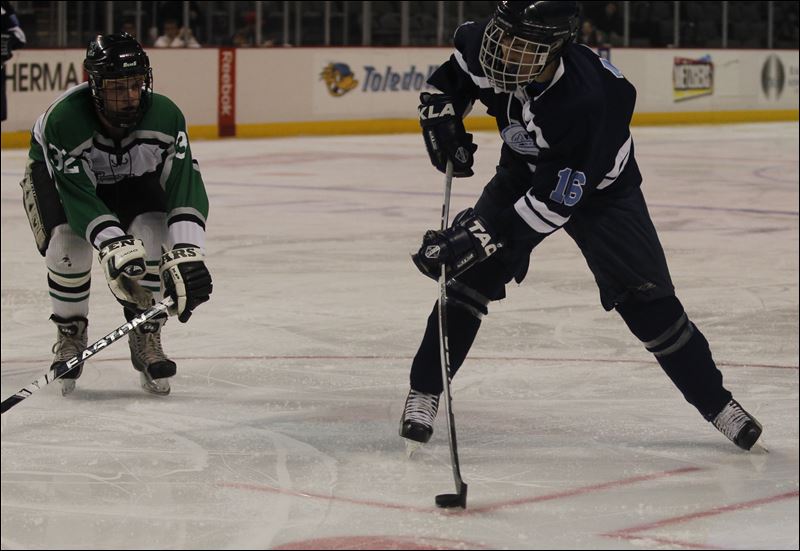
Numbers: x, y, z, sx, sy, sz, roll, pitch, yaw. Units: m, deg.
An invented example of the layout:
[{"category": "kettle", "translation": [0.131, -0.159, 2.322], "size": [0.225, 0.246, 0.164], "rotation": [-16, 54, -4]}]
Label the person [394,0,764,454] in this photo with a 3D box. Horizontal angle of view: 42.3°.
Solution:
[{"category": "person", "translation": [0.621, -0.201, 3.927], "size": [1.199, 1.614, 0.607], "rotation": [1, 12, -1]}]

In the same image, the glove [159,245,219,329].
[{"category": "glove", "translation": [-0.801, 0.042, 3.920], "size": [0.222, 0.259, 0.118], "rotation": [4, 4, 33]}]

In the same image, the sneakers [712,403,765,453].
[{"category": "sneakers", "translation": [1.242, 0.545, 3.795], "size": [0.080, 0.111, 0.212], "rotation": [24, 19, -49]}]

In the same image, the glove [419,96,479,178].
[{"category": "glove", "translation": [0.191, -0.541, 4.012], "size": [0.247, 0.294, 0.126], "rotation": [7, 13, 27]}]

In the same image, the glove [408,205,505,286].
[{"category": "glove", "translation": [0.207, -0.105, 3.782], "size": [0.326, 0.229, 0.131], "rotation": [-26, -17, -13]}]

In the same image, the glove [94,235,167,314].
[{"category": "glove", "translation": [-1.026, 0.012, 3.951], "size": [0.215, 0.330, 0.173], "rotation": [-37, 34, -23]}]

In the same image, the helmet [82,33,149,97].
[{"category": "helmet", "translation": [-1.097, -0.818, 4.004], "size": [0.245, 0.241, 0.237], "rotation": [-2, 12, -16]}]
